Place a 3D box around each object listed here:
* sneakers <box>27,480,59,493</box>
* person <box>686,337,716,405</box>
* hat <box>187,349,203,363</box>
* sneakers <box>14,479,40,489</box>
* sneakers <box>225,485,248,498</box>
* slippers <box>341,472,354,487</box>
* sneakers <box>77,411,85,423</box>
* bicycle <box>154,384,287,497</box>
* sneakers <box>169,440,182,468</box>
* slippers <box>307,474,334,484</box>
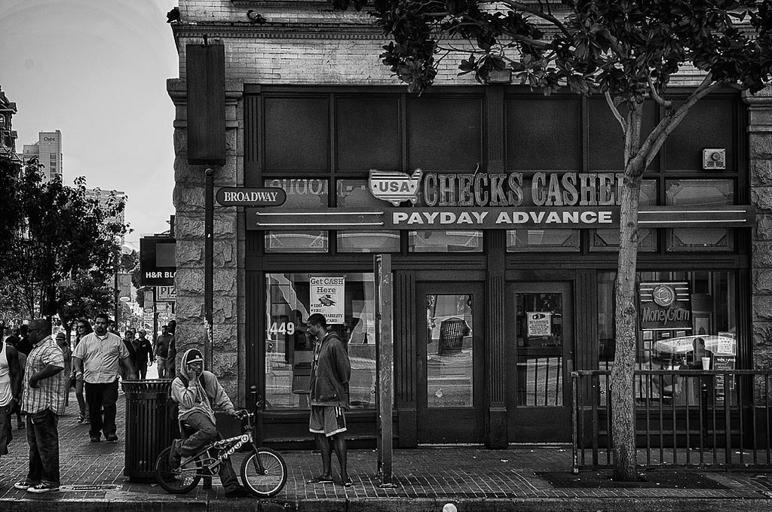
[{"bbox_3d":[-6.010,4.057,21.795,0.579,0.218,0.207,3,-1,-4],"label":"sneakers"},{"bbox_3d":[6.336,2.308,24.854,0.528,1.413,1.795,-3,-5,15],"label":"person"},{"bbox_3d":[-3.388,1.776,21.938,0.272,0.139,0.198,1,-3,-12],"label":"hat"},{"bbox_3d":[-6.402,4.049,22.008,0.473,0.179,0.167,3,-7,6],"label":"sneakers"},{"bbox_3d":[-2.619,4.103,21.663,0.339,0.199,0.206,1,0,7],"label":"sneakers"},{"bbox_3d":[-0.697,4.029,22.391,0.219,0.228,0.410,-2,-5,-2],"label":"slippers"},{"bbox_3d":[-6.863,3.648,27.779,0.154,0.179,0.439,2,-12,-9],"label":"sneakers"},{"bbox_3d":[-2.895,3.483,21.893,2.313,1.451,1.250,6,-14,-19],"label":"bicycle"},{"bbox_3d":[-3.693,3.492,21.822,0.230,0.509,0.176,5,-5,1],"label":"sneakers"},{"bbox_3d":[-1.161,4.043,22.504,0.513,0.177,0.177,3,-7,0],"label":"slippers"}]
